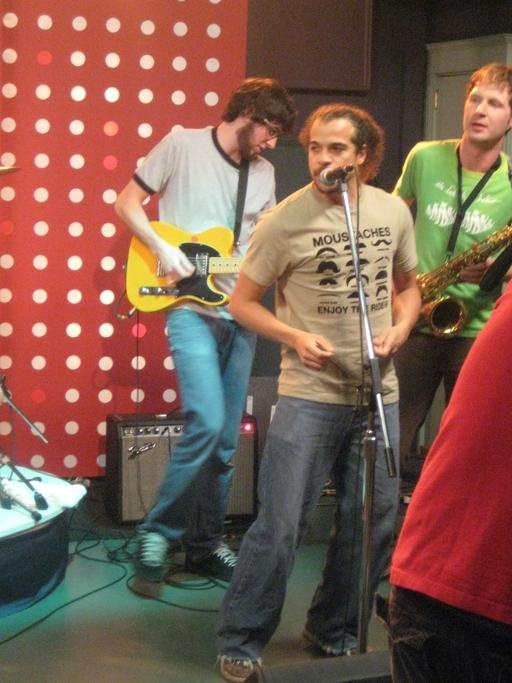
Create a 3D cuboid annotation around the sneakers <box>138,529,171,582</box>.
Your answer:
[{"bbox_3d":[-0.406,0.842,2.567,0.068,0.172,0.171,2,-8,32],"label":"sneakers"}]

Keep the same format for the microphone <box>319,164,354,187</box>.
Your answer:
[{"bbox_3d":[0.200,-0.412,1.627,0.038,0.032,0.116,3,-6,-19],"label":"microphone"}]

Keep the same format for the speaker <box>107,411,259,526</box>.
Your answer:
[{"bbox_3d":[-0.374,0.580,3.272,0.944,0.645,0.502,2,-4,-20],"label":"speaker"}]
